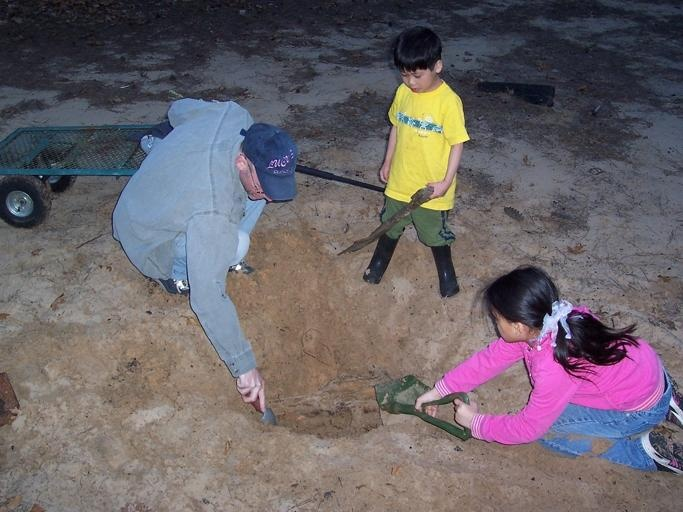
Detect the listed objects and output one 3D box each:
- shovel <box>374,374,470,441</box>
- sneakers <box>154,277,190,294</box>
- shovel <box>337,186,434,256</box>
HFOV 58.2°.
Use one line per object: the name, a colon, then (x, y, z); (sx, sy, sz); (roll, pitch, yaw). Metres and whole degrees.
shovel: (0.699, 1.239, 5.192); (0.769, 0.188, 0.382); (6, 54, 28)
sneakers: (-1.543, 0.276, 5.591); (0.259, 0.178, 0.079); (5, 84, 11)
shovel: (0.388, -0.202, 5.849); (0.089, 1.542, 0.246); (16, 53, -35)
